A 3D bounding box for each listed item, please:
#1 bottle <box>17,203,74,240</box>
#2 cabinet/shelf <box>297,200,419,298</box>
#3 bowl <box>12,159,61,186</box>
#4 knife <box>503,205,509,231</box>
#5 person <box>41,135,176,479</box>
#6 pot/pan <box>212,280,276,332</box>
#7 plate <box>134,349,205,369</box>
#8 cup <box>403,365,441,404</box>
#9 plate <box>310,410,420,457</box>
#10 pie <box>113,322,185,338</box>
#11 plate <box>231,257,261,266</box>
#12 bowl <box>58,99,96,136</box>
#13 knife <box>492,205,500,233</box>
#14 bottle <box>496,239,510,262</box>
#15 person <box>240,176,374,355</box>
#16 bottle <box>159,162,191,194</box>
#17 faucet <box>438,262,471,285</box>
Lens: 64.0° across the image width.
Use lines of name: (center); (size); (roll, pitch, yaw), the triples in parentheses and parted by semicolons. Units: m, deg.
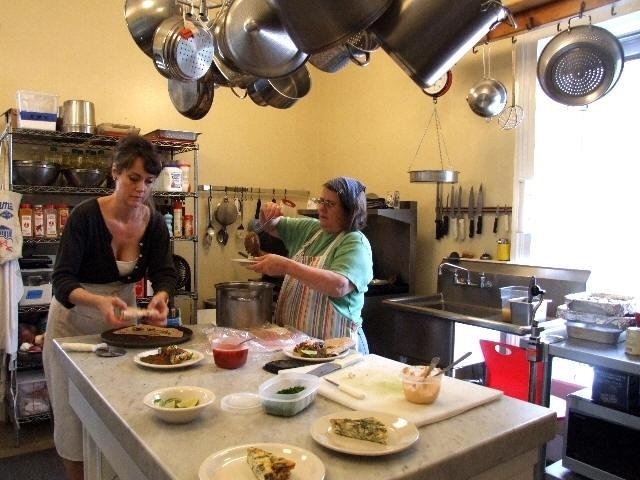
bottle: (-1.971, -0.128, 3.648); (0.259, 0.227, 0.086); (-2, 5, -29)
cabinet/shelf: (0.315, 0.073, 4.664); (0.590, 1.179, 1.171); (1, 0, -21)
bowl: (-2.112, -0.477, 3.829); (0.207, 0.127, 0.215); (0, -5, 0)
knife: (1.408, -0.156, 3.846); (0.046, 0.184, 0.057); (3, 11, 10)
person: (-1.049, 0.325, 2.614); (0.686, 1.685, 0.674); (-5, 12, -30)
pot/pan: (-0.387, 0.316, 2.586); (0.223, 0.154, 0.246); (1, 0, 8)
plate: (-0.629, 0.479, 2.120); (0.292, 0.040, 0.229); (0, 11, -4)
cup: (0.358, 0.497, 1.788); (0.112, 0.080, 0.115); (1, -1, 0)
plate: (0.121, 0.589, 1.554); (0.163, 0.025, 0.160); (3, 7, 20)
pie: (-0.802, 0.428, 2.428); (0.336, 0.019, 0.145); (1, 11, 2)
plate: (-0.346, 0.099, 2.423); (0.096, 0.036, 0.129); (-1, 11, -10)
bowl: (-1.860, -0.942, 3.929); (0.263, 0.276, 0.267); (0, 6, 0)
knife: (1.341, -0.154, 3.902); (0.045, 0.211, 0.051); (-7, 13, -37)
bottle: (1.364, 0.069, 3.787); (0.097, 0.154, 0.104); (1, 11, 0)
person: (-0.059, 0.122, 2.671); (0.668, 0.893, 0.837); (4, 11, 15)
bottle: (-1.214, -0.522, 4.272); (0.277, 0.281, 0.164); (-3, 7, -32)
faucet: (1.004, 0.248, 3.939); (0.315, 0.174, 0.093); (8, 12, 44)
